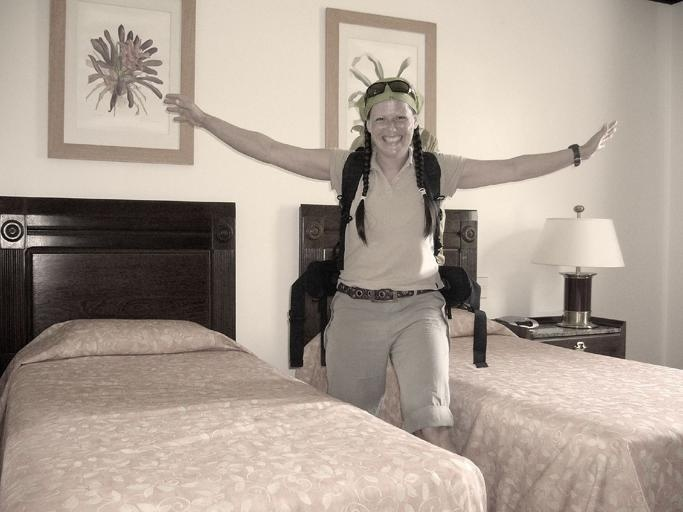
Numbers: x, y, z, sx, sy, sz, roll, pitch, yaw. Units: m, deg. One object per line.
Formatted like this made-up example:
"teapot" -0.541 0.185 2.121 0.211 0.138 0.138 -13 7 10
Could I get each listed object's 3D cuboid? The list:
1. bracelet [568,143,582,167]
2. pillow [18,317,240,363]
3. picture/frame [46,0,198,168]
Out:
"bracelet" 1.020 -0.446 2.317 0.076 0.115 0.040 4 -6 -1
"pillow" -1.157 0.438 2.815 0.645 0.147 0.425 2 -1 -28
"picture/frame" -1.396 -1.078 3.275 0.994 1.489 0.061 2 -4 -26
